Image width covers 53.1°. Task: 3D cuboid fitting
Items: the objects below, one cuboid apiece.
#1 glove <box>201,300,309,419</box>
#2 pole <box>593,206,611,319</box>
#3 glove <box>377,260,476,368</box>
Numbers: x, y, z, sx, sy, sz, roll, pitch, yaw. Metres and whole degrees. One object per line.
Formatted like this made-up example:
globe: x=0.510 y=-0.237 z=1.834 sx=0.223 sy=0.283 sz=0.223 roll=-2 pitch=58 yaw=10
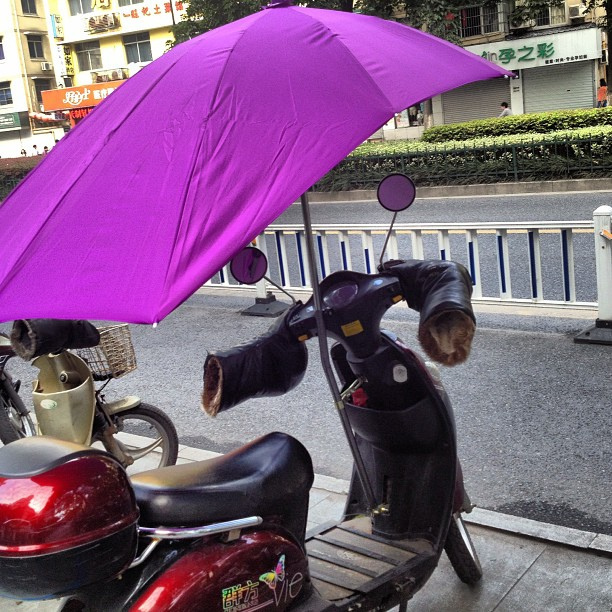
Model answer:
glove: x=-0.162 y=0.223 z=2.518 sx=0.252 sy=0.312 sz=0.861 roll=2 pitch=15 yaw=28
pole: x=2.875 y=-0.394 z=5.908 sx=0.193 sy=1.108 sz=0.243 roll=2 pitch=17 yaw=23
glove: x=0.448 y=0.014 z=2.126 sx=0.295 sy=0.298 sz=0.461 roll=-2 pitch=14 yaw=7
